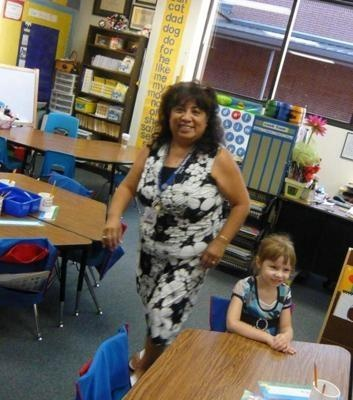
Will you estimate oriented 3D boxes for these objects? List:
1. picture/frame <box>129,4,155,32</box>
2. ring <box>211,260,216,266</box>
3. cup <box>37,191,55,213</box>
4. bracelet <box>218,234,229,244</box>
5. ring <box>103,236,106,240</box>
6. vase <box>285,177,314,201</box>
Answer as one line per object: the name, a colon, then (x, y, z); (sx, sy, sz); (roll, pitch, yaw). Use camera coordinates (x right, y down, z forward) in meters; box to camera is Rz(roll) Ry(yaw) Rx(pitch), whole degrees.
picture/frame: (-0.694, -3.562, 6.441); (0.484, 0.467, 0.049); (19, 14, 16)
ring: (0.160, 0.273, 1.423); (0.022, 0.021, 0.016); (-1, 3, 1)
cup: (-0.893, 0.011, 2.321); (0.124, 0.117, 0.107); (13, 15, 15)
bracelet: (0.203, 0.166, 1.426); (0.036, 0.010, 0.038); (47, -11, 0)
ring: (-0.338, 0.180, 1.569); (0.018, 0.013, 0.018); (1, 2, 0)
vase: (1.395, -0.127, 3.876); (0.333, 0.236, 0.260); (7, 6, -2)
